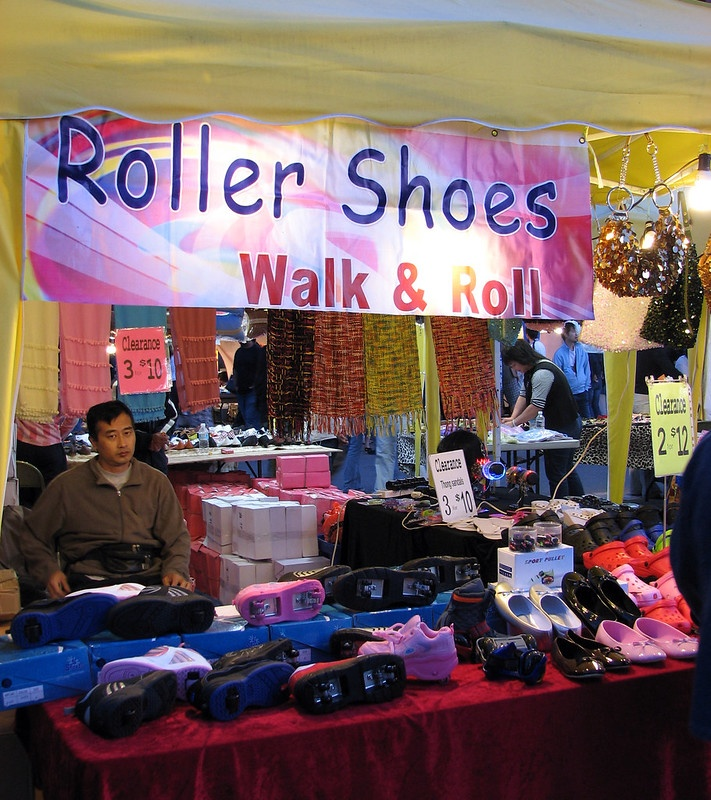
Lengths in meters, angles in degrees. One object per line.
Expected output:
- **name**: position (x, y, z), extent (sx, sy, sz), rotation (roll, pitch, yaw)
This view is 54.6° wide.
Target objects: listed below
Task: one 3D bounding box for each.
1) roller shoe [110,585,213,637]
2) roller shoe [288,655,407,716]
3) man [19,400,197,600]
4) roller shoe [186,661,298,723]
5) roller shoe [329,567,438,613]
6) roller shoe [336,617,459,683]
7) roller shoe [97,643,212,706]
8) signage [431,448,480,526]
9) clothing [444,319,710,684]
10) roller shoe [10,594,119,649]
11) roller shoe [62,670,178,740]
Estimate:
- **roller shoe**: position (-0.503, 0.565, 1.878), extent (0.297, 0.099, 0.138), rotation (1, 12, -25)
- **roller shoe**: position (-0.005, 0.664, 1.671), extent (0.309, 0.094, 0.127), rotation (0, -6, -28)
- **man**: position (-1.020, 0.474, 2.843), extent (0.762, 0.847, 0.662), rotation (2, 6, 0)
- **roller shoe**: position (-0.259, 0.653, 1.601), extent (0.240, 0.082, 0.093), rotation (-2, 4, -36)
- **roller shoe**: position (0.093, 0.572, 2.151), extent (0.368, 0.118, 0.148), rotation (2, -3, -24)
- **roller shoe**: position (0.111, 0.652, 1.831), extent (0.341, 0.152, 0.113), rotation (5, -40, 7)
- **roller shoe**: position (-0.459, 0.674, 1.687), extent (0.307, 0.097, 0.132), rotation (1, 24, -12)
- **signage**: position (0.460, 0.410, 3.143), extent (0.298, 0.375, 0.030), rotation (-16, -1, -40)
- **clothing**: position (2.170, 0.208, 6.312), extent (1.666, 4.292, 1.527), rotation (-5, 2, -12)
- **roller shoe**: position (-0.746, 0.563, 1.810), extent (0.298, 0.108, 0.122), rotation (-3, 5, -31)
- **roller shoe**: position (-0.496, 0.636, 1.487), extent (0.110, 0.079, 0.237), rotation (-1, 0, 32)
